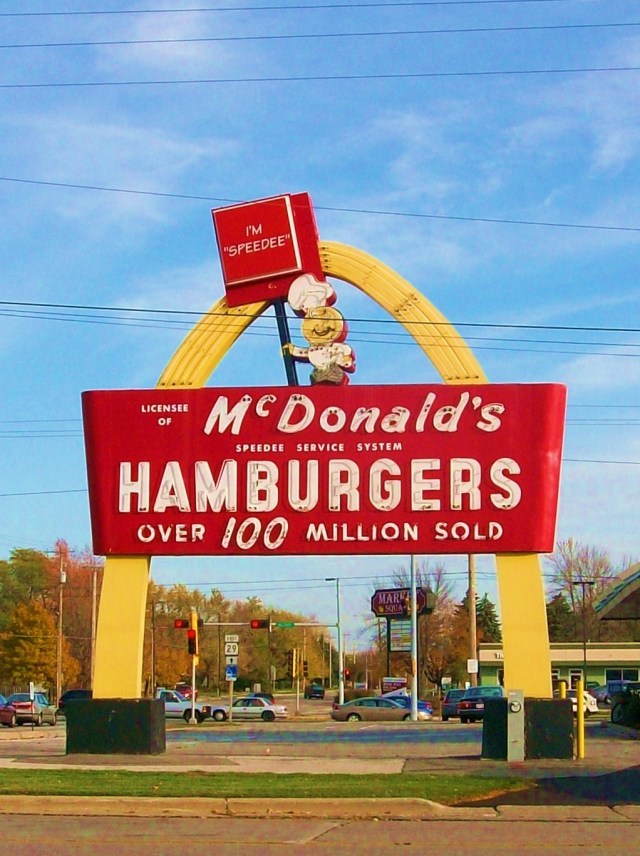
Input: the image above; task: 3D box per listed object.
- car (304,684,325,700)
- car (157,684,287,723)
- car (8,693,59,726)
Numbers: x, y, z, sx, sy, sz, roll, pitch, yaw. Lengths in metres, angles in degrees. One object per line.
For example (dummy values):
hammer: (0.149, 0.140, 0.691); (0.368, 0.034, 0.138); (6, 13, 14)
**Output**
car: (-0.273, 19.767, 113.035); (0.933, 0.777, 1.614); (2, 8, 0)
car: (-3.523, 10.098, 55.092); (3.355, 1.146, 6.773); (-4, -10, 17)
car: (-9.514, 9.546, 51.506); (0.897, 0.680, 2.079); (-1, -2, 10)
